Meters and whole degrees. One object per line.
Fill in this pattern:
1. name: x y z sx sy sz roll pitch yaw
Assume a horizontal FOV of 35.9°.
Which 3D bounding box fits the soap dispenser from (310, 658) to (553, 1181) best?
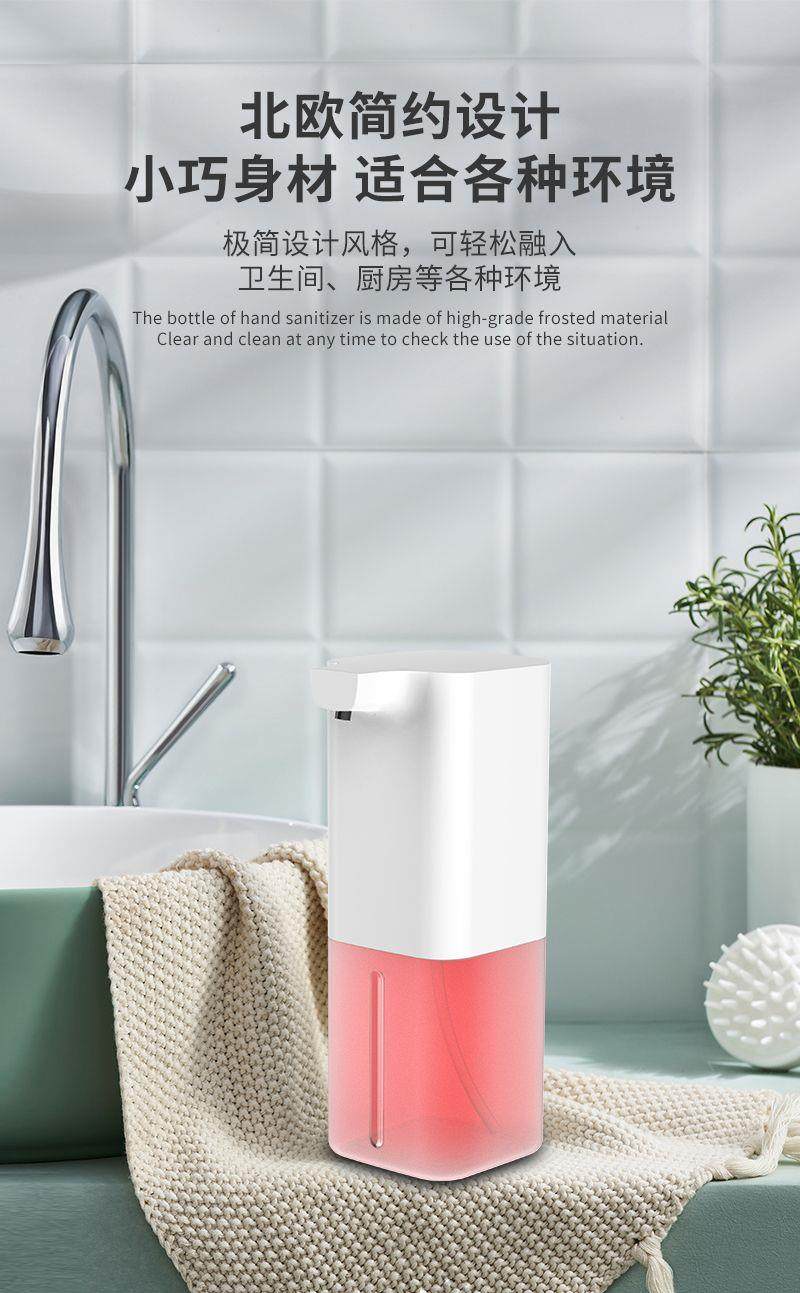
1. soap dispenser: 0.014 0.113 0.506 0.092 0.213 0.072 0 -2 4
